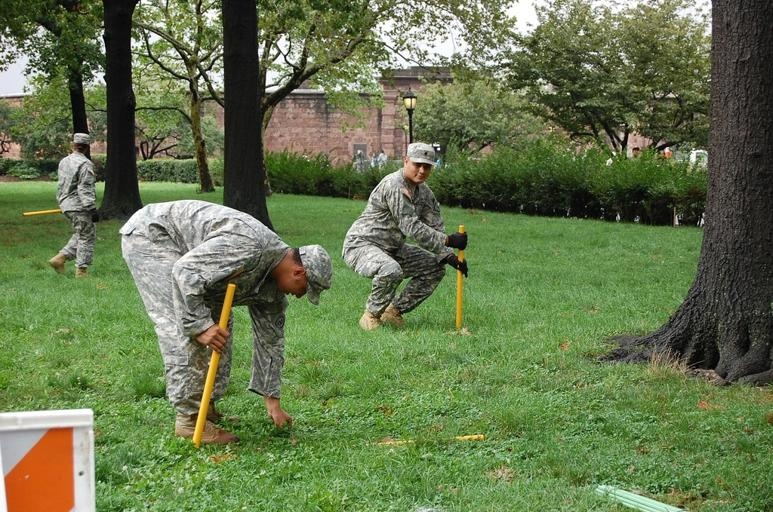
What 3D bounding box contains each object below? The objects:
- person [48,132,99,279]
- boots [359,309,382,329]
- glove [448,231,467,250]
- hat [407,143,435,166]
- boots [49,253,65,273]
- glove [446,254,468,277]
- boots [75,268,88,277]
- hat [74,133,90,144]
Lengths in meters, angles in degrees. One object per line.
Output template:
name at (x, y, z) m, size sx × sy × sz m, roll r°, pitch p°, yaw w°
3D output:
person at (-6.499, -1.093, 20.779) m, size 0.871 × 2.897 × 1.414 m, roll -2°, pitch 7°, yaw -17°
boots at (-0.281, 1.125, 17.663) m, size 0.378 × 0.313 × 0.430 m, roll 0°, pitch 6°, yaw -1°
glove at (1.260, -0.260, 17.799) m, size 0.343 × 0.310 × 0.336 m, roll 1°, pitch 6°, yaw 7°
hat at (0.640, -1.780, 17.532) m, size 0.490 × 0.229 × 0.369 m, roll 8°, pitch 3°, yaw 32°
boots at (-6.850, 0.133, 20.756) m, size 0.388 × 0.374 × 0.307 m, roll 1°, pitch 17°, yaw -46°
glove at (1.301, 0.142, 17.648) m, size 0.413 × 0.210 × 0.317 m, roll 35°, pitch 14°, yaw -1°
boots at (-6.215, 0.336, 20.335) m, size 0.226 × 0.177 × 0.330 m, roll -2°, pitch 6°, yaw -18°
hat at (-6.393, -2.438, 20.906) m, size 0.344 × 0.192 × 0.334 m, roll 1°, pitch 4°, yaw -16°
